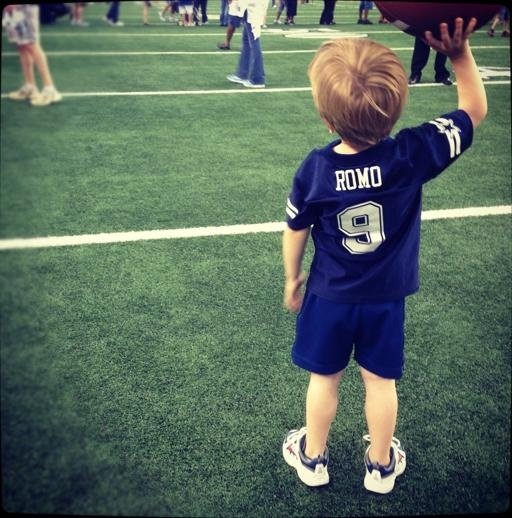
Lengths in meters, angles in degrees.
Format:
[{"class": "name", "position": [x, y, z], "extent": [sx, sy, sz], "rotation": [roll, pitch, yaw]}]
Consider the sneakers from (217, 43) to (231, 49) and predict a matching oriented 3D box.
[{"class": "sneakers", "position": [-0.582, -3.852, 9.597], "extent": [0.216, 0.108, 0.099], "rotation": [29, 45, 27]}]

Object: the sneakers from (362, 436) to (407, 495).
[{"class": "sneakers", "position": [0.464, 0.701, 1.855], "extent": [0.108, 0.130, 0.275], "rotation": [-1, 15, 31]}]

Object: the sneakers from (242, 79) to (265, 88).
[{"class": "sneakers", "position": [-0.051, -2.346, 7.064], "extent": [0.335, 0.160, 0.134], "rotation": [18, 27, 28]}]

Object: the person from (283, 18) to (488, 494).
[{"class": "person", "position": [0.394, 0.050, 1.717], "extent": [0.550, 1.535, 0.326], "rotation": [1, 21, 8]}]

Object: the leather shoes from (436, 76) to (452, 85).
[{"class": "leather shoes", "position": [2.578, -2.412, 7.185], "extent": [0.156, 0.080, 0.125], "rotation": [11, 4, 24]}]

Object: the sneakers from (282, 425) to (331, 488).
[{"class": "sneakers", "position": [0.217, 0.719, 1.884], "extent": [0.105, 0.128, 0.250], "rotation": [-5, -1, -2]}]
